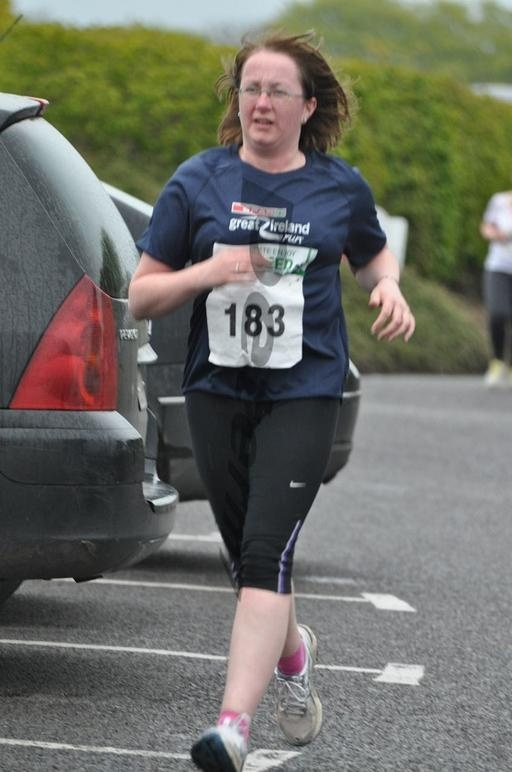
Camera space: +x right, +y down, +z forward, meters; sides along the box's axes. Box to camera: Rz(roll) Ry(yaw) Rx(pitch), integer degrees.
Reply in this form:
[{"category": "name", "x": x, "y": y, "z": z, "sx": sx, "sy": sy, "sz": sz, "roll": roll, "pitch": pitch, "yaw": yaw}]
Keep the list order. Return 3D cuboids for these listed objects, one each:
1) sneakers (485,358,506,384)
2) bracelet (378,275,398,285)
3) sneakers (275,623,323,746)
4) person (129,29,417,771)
[{"category": "sneakers", "x": 4.142, "y": -0.235, "z": 14.244, "sx": 0.292, "sy": 0.455, "sz": 0.227, "roll": 15, "pitch": 4, "yaw": 6}, {"category": "bracelet", "x": 0.303, "y": -0.245, "z": 1.877, "sx": 0.029, "sy": 0.014, "sz": 0.035, "roll": 4, "pitch": 7, "yaw": -27}, {"category": "sneakers", "x": 0.107, "y": 0.674, "z": 1.907, "sx": 0.099, "sy": 0.277, "sz": 0.127, "roll": -6, "pitch": -3, "yaw": 14}, {"category": "person", "x": 0.047, "y": 0.020, "z": 1.753, "sx": 0.606, "sy": 1.576, "sz": 0.420, "roll": 4, "pitch": -3, "yaw": -44}]
